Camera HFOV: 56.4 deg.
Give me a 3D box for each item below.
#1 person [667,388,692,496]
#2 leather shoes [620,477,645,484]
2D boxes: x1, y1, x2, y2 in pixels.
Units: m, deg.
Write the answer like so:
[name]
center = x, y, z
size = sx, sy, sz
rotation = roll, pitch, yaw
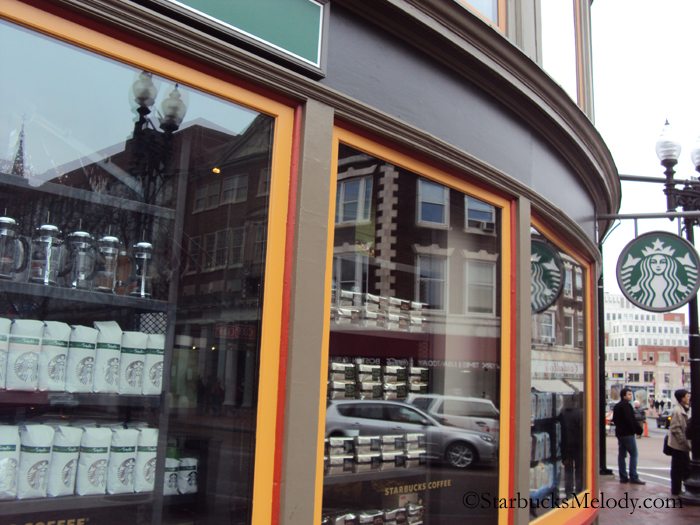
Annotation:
[person]
center = 5.573, 3.119, 11.077
size = 0.393, 1.566, 1.366
rotation = 7, -1, 27
[leather shoes]
center = 5.253, 4.069, 12.185
size = 0.430, 0.189, 0.158
rotation = -1, -10, 3
